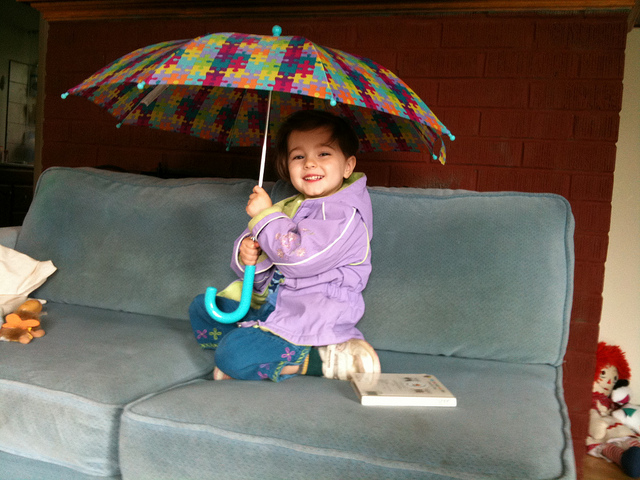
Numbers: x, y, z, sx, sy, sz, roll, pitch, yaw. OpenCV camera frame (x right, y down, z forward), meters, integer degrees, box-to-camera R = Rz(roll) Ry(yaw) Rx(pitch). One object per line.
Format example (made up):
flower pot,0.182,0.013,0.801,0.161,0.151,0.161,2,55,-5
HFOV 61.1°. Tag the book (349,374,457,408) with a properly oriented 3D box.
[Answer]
book,0.206,0.369,1.350,0.244,0.033,0.152,0,13,-6

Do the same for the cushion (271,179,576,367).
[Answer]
cushion,0.545,0.097,1.855,0.684,0.205,0.840,-2,33,14

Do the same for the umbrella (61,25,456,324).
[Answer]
umbrella,-0.191,-0.221,1.671,1.119,0.790,1.020,2,-3,-7

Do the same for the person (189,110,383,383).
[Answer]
person,-0.127,0.011,1.692,0.575,0.784,0.646,-4,9,-39

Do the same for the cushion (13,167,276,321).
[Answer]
cushion,-0.638,0.026,2.143,1.009,0.521,0.254,10,-5,14
